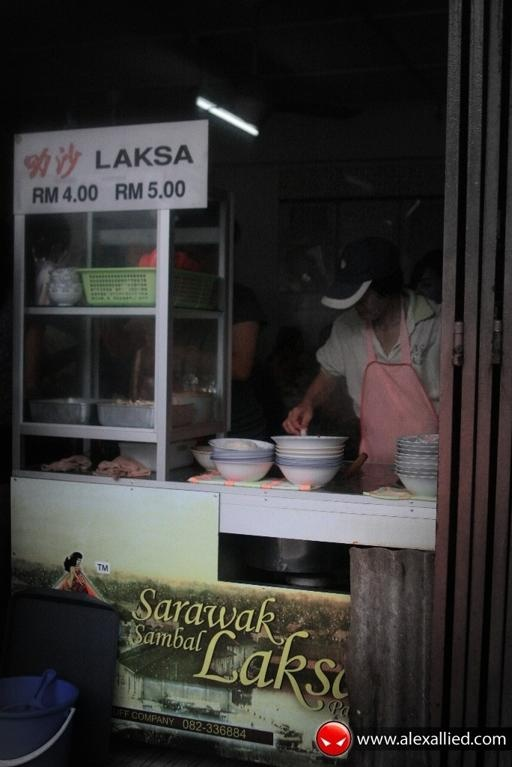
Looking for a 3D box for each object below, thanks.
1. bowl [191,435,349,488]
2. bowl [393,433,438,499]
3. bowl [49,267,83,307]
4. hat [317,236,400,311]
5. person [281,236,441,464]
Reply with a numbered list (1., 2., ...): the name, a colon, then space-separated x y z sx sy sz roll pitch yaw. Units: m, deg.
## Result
1. bowl: 0.088 0.270 2.665 0.352 0.140 0.255 2 -2 11
2. bowl: 0.541 0.298 2.448 0.165 0.187 0.191 -1 -1 6
3. bowl: -0.786 -0.391 2.903 0.151 0.174 0.147 1 4 0
4. hat: 0.494 -0.467 3.230 0.307 0.264 0.517 8 30 40
5. person: 0.628 -0.034 3.534 0.915 1.279 0.643 -5 6 12
